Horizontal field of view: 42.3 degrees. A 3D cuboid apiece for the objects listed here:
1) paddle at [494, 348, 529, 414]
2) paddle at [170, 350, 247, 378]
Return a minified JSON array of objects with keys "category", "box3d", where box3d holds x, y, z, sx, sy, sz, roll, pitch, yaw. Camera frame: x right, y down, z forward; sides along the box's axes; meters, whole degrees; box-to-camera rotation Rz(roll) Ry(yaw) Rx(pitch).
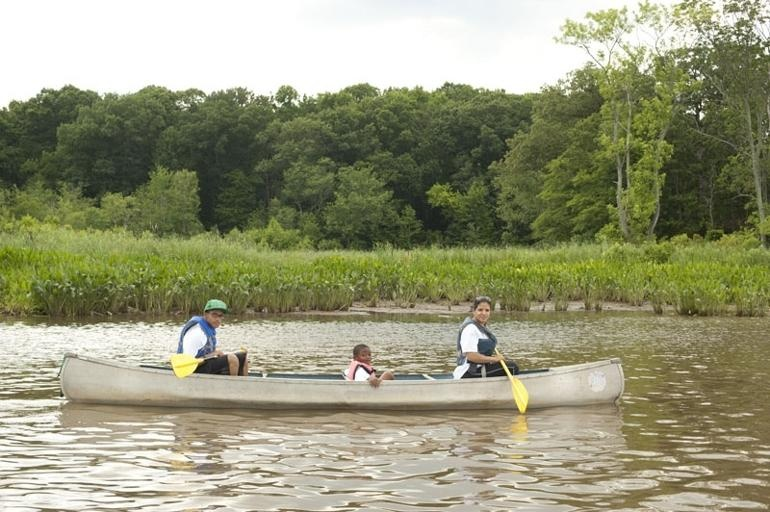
[{"category":"paddle","box3d":[3.255,3.117,25.929,0.387,2.086,0.243,-24,-40,-4]},{"category":"paddle","box3d":[-4.755,2.751,25.938,2.365,0.673,0.311,-3,-15,-25]}]
